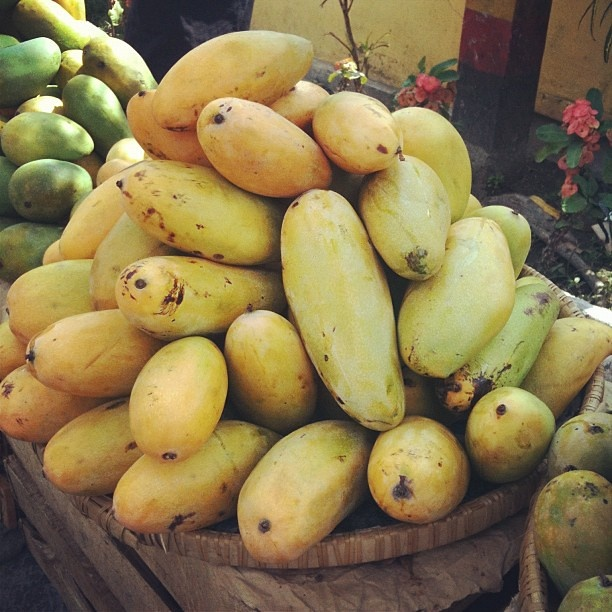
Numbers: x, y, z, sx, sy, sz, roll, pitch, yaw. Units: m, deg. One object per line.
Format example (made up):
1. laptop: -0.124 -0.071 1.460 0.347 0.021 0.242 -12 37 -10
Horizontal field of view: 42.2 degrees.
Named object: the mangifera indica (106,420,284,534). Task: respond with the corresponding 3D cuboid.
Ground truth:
1. mangifera indica: -0.275 0.431 2.087 0.435 0.229 0.189 -13 76 -36
